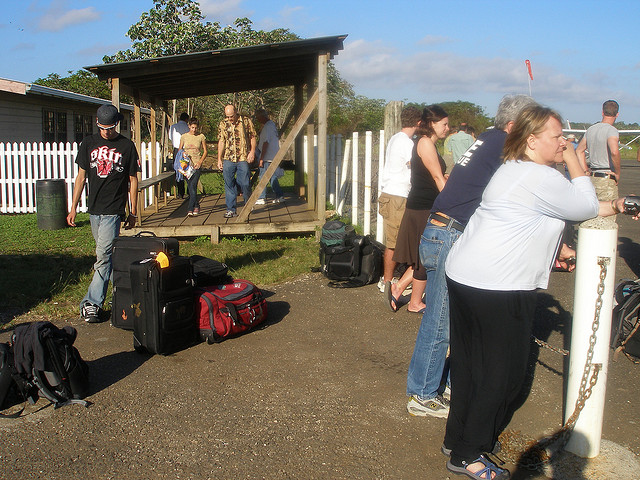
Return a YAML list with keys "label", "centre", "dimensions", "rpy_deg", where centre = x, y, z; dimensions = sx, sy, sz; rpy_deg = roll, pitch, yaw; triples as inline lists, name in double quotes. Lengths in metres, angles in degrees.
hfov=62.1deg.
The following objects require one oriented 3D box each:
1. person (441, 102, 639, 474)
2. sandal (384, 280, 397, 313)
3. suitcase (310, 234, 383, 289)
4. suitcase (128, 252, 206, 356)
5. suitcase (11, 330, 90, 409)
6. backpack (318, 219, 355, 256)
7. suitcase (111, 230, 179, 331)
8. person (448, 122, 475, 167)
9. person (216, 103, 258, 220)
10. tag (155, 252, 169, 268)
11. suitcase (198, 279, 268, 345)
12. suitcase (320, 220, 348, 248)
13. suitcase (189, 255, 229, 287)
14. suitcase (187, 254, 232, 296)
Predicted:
- label: "person"
  centre: [1.254, 0.359, 3.478]
  dimensions: [0.807, 2.399, 0.448]
  rpy_deg: [-1, 13, -4]
- label: "sandal"
  centre: [0.807, 0.654, 6.193]
  dimensions: [0.089, 0.382, 0.131]
  rpy_deg: [-9, 4, -10]
- label: "suitcase"
  centre: [0.367, 0.286, 7.480]
  dimensions: [1.064, 0.766, 0.961]
  rpy_deg: [-4, 0, 1]
- label: "suitcase"
  centre: [-1.537, 0.586, 5.249]
  dimensions: [0.479, 0.959, 0.574]
  rpy_deg: [8, 10, 38]
- label: "suitcase"
  centre: [-2.167, 1.078, 4.329]
  dimensions: [0.474, 0.575, 0.352]
  rpy_deg: [-7, 15, -25]
- label: "backpack"
  centre: [0.219, -0.034, 7.159]
  dimensions: [0.418, 0.476, 0.340]
  rpy_deg: [7, 8, 18]
- label: "suitcase"
  centre: [-1.874, 0.448, 5.672]
  dimensions: [0.542, 0.992, 0.513]
  rpy_deg: [-8, -16, 11]
- label: "person"
  centre: [2.542, -1.772, 9.739]
  dimensions: [0.413, 0.381, 1.071]
  rpy_deg: [2, -23, 8]
- label: "person"
  centre: [-1.707, -1.579, 10.914]
  dimensions: [0.761, 2.276, 0.606]
  rpy_deg: [-3, 13, -10]
- label: "tag"
  centre: [-1.491, 0.197, 5.078]
  dimensions: [0.108, 0.122, 0.116]
  rpy_deg: [2, 25, 36]
- label: "suitcase"
  centre: [-0.953, 0.754, 5.721]
  dimensions: [0.585, 0.587, 0.777]
  rpy_deg: [-15, 0, 42]
- label: "suitcase"
  centre: [0.188, -0.078, 7.177]
  dimensions: [0.326, 0.391, 0.273]
  rpy_deg: [3, 2, -1]
- label: "suitcase"
  centre: [-1.201, 0.335, 5.742]
  dimensions: [0.244, 0.132, 0.320]
  rpy_deg: [8, 10, 37]
- label: "suitcase"
  centre: [-1.247, 0.393, 5.827]
  dimensions: [0.337, 0.180, 0.450]
  rpy_deg: [-20, -4, 33]
